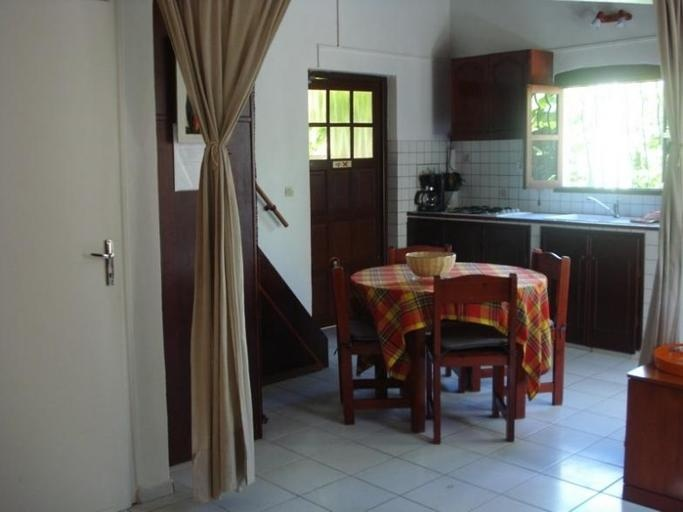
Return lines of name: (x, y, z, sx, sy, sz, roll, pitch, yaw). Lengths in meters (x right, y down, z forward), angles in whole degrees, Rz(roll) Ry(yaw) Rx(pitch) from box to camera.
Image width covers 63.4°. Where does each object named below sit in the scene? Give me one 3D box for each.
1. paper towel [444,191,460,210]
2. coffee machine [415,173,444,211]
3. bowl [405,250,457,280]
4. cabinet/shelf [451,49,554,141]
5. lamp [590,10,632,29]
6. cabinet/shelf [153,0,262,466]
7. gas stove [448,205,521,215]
paper towel: (1.366, -0.687, 6.858, 0.022, 0.246, 0.201, 8, 15, 43)
coffee machine: (1.063, -0.780, 6.712, 0.396, 0.466, 0.290, -7, 12, -38)
bowl: (0.639, 0.054, 3.894, 0.219, 0.125, 0.230, -2, 6, 0)
cabinet/shelf: (1.692, -1.794, 6.376, 0.904, 0.972, 0.332, 0, 0, 2)
lamp: (2.702, -2.377, 5.558, 0.376, 0.191, 0.144, -6, 5, 20)
cabinet/shelf: (-0.817, -0.097, 3.429, 0.195, 2.732, 0.696, 5, 10, 42)
gas stove: (1.634, -0.527, 6.347, 0.792, 0.051, 0.485, 2, 10, 16)
